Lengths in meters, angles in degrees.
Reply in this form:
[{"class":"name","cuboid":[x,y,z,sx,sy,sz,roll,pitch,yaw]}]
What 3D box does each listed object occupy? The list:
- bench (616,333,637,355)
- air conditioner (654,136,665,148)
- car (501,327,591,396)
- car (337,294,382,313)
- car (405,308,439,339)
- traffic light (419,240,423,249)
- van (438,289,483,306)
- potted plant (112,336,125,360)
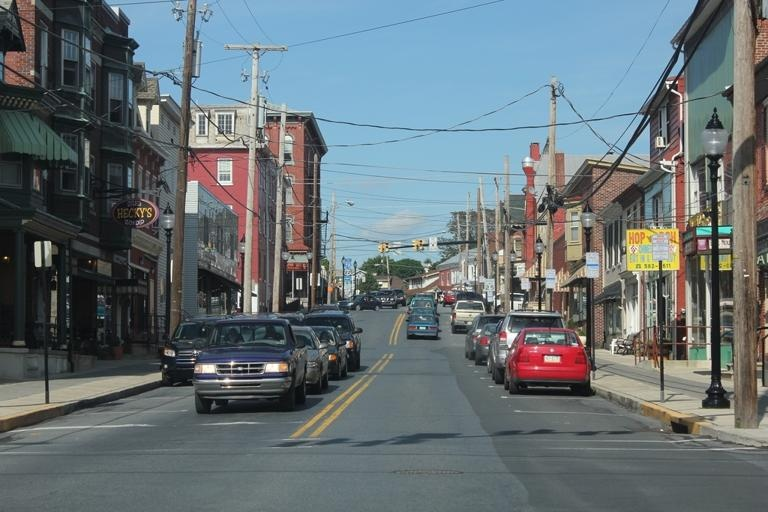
[{"class":"bench","cuboid":[11.278,4.066,53.195,0.895,1.003,1.266,0,-8,-5]},{"class":"air conditioner","cuboid":[11.906,-4.845,49.433,0.470,0.627,0.436,2,-5,2]},{"class":"car","cuboid":[5.040,3.162,35.194,2.446,1.973,1.256,-2,-8,8]},{"class":"car","cuboid":[-2.095,3.924,96.223,2.988,1.026,1.404,6,-8,-41]},{"class":"car","cuboid":[2.221,3.723,64.531,1.671,1.805,2.174,-2,-8,8]},{"class":"traffic light","cuboid":[3.071,-0.886,94.706,0.320,0.645,1.056,-1,-8,3]},{"class":"van","cuboid":[6.398,3.478,94.909,1.609,1.156,2.858,0,-7,-4]},{"class":"potted plant","cuboid":[-11.394,3.904,49.220,0.382,1.019,0.870,0,-8,-9]}]
